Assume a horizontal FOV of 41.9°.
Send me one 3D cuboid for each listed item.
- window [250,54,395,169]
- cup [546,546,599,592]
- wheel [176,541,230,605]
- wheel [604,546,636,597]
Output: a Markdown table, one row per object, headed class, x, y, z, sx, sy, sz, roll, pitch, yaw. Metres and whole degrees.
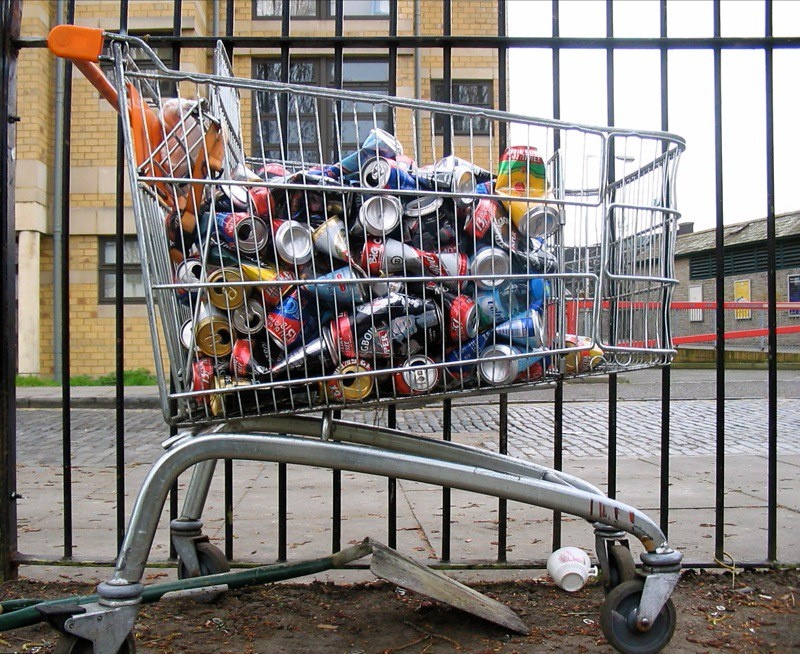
| class | x | y | z | sx | sy | sz | roll | pitch | yaw |
| --- | --- | --- | --- | --- | --- | --- | --- | --- | --- |
| window | -0.556 | -1.893 | 9.099 | 1.164 | 1.311 | 0.051 | 1 | -33 | 6 |
| cup | 0.734 | 1.018 | 4.543 | 0.229 | 0.169 | 0.210 | 2 | 4 | 0 |
| wheel | -0.857 | 1.049 | 4.472 | 0.304 | 0.296 | 0.094 | -5 | -4 | 34 |
| wheel | 0.909 | 1.008 | 4.322 | 0.062 | 0.188 | 0.192 | -2 | -7 | -14 |
